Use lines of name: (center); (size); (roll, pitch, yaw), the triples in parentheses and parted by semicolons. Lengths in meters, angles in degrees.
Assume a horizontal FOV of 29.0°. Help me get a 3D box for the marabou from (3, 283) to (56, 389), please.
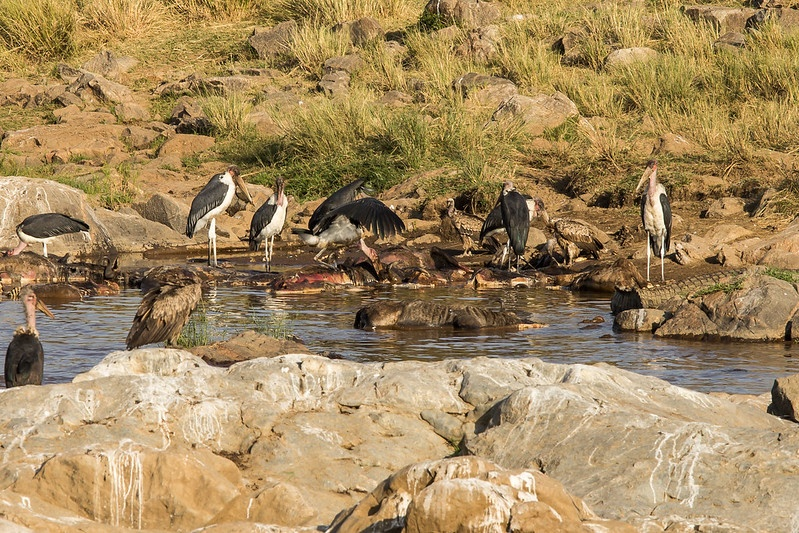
marabou: (-6.774, 1.284, 27.943); (0.819, 1.736, 2.193); (-2, 2, -12)

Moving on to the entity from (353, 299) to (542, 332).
entity: (0.760, 1.022, 31.511); (3.532, 0.592, 0.612); (-1, 2, -2)

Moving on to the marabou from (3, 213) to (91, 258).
marabou: (-8.291, -0.827, 37.002); (2.394, 1.144, 0.839); (-1, -2, -11)

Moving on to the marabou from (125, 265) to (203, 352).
marabou: (-4.538, 0.780, 29.098); (1.000, 1.487, 2.046); (-7, -1, 40)

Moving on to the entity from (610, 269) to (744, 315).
entity: (5.658, 0.582, 32.096); (2.279, 0.605, 0.297); (-11, 37, 6)
